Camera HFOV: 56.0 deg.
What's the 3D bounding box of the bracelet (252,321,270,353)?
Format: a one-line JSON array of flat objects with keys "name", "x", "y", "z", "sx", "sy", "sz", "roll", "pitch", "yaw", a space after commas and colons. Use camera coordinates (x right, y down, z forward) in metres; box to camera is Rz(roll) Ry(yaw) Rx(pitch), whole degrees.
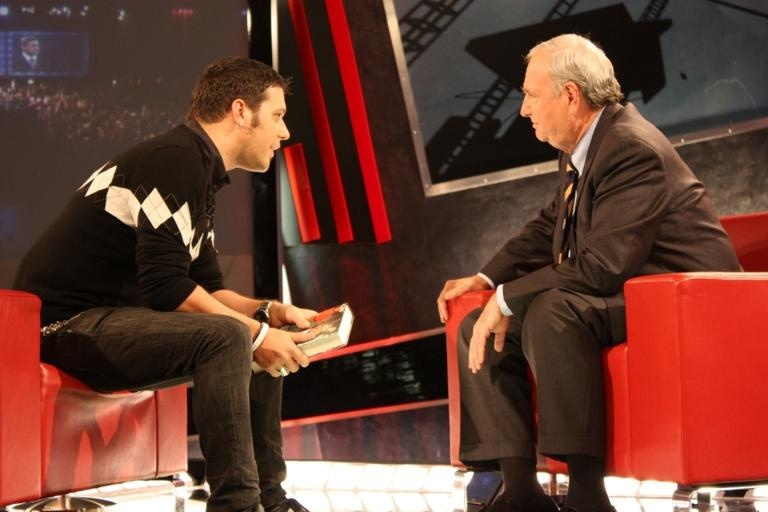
[{"name": "bracelet", "x": -0.413, "y": 0.279, "z": 2.417, "sx": 0.029, "sy": 0.082, "sz": 0.074, "roll": 32, "pitch": -47, "yaw": 0}]
